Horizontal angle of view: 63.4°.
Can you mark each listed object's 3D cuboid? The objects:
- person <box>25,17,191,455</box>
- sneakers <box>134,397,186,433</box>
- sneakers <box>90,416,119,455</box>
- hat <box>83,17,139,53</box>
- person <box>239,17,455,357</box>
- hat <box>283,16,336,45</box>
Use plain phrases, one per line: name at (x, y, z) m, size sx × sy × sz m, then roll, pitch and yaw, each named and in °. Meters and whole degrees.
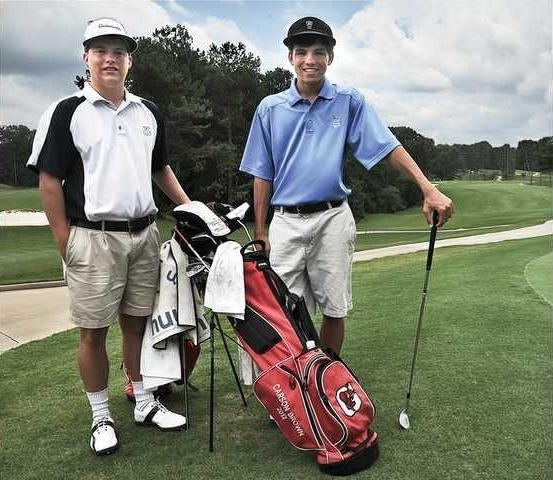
person at (-1.041, -0.064, 2.848) m, size 0.884 × 2.614 × 0.565 m, roll -6°, pitch 7°, yaw -33°
sneakers at (-0.783, 1.142, 3.015) m, size 0.362 × 0.185 × 0.153 m, roll 2°, pitch 6°, yaw 14°
sneakers at (-1.036, 1.177, 2.713) m, size 0.095 × 0.122 × 0.264 m, roll 0°, pitch -4°, yaw -20°
hat at (-1.041, -1.298, 2.797) m, size 0.319 × 0.207 × 0.238 m, roll -6°, pitch 7°, yaw -24°
person at (0.340, -0.349, 3.103) m, size 1.269 × 2.293 × 0.443 m, roll -1°, pitch 6°, yaw 17°
hat at (0.228, -1.396, 3.009) m, size 0.363 × 0.174 × 0.194 m, roll -3°, pitch 7°, yaw 2°
